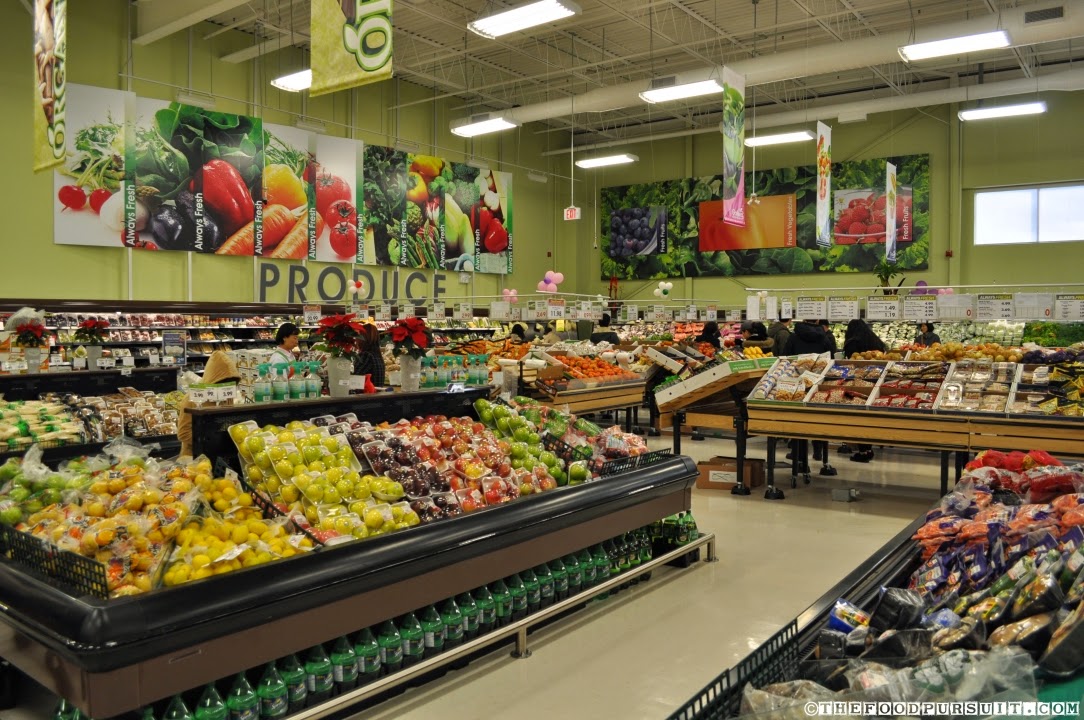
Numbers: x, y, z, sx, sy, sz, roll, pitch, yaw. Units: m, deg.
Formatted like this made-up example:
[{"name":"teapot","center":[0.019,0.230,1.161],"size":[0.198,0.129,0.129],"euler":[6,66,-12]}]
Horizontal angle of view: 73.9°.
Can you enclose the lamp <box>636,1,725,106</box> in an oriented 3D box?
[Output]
[{"name":"lamp","center":[2.624,-5.606,13.170],"size":[1.217,2.102,4.328],"euler":[0,9,14]}]

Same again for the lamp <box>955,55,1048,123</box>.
[{"name":"lamp","center":[9.217,-5.429,14.663],"size":[1.530,1.205,3.783],"euler":[4,11,32]}]

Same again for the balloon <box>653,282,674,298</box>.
[{"name":"balloon","center":[3.083,-1.777,18.302],"size":[0.651,0.231,0.654],"euler":[5,16,34]}]

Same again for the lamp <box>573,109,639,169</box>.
[{"name":"lamp","center":[1.683,-5.480,19.277],"size":[1.715,0.808,5.104],"euler":[-2,9,3]}]
